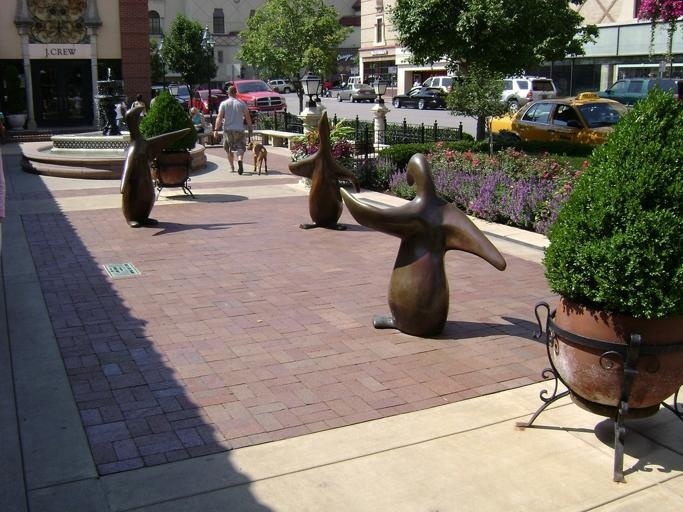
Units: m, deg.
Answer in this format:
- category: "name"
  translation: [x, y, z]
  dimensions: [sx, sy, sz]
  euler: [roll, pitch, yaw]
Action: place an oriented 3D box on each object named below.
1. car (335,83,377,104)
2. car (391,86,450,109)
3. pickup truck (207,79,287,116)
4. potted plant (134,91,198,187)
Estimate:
- category: "car"
  translation: [1.409, -14.677, 53.097]
  dimensions: [3.379, 1.630, 1.733]
  euler: [13, 21, 38]
- category: "car"
  translation: [5.864, -11.785, 43.884]
  dimensions: [1.480, 1.613, 4.748]
  euler: [-9, 18, -28]
- category: "pickup truck"
  translation: [-6.622, -10.676, 39.474]
  dimensions: [2.925, 2.324, 6.679]
  euler: [-19, 30, -31]
- category: "potted plant"
  translation: [-4.144, -2.824, 14.353]
  dimensions: [1.653, 2.284, 1.519]
  euler: [1, 0, 5]
